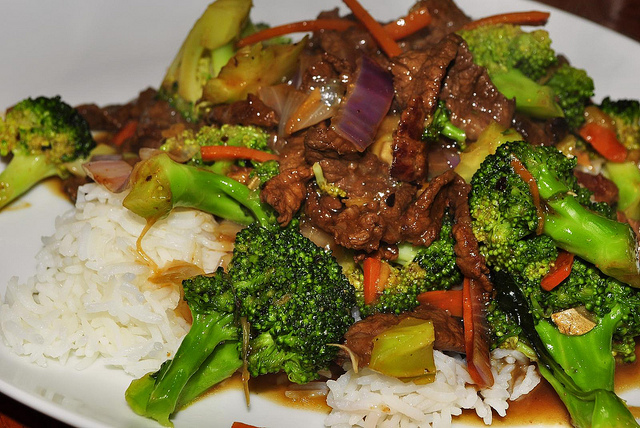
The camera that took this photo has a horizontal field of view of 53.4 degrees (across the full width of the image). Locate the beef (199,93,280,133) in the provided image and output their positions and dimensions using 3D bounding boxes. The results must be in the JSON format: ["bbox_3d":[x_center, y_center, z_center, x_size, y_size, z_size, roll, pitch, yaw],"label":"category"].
[{"bbox_3d":[-0.736,-0.953,5.968,0.609,0.379,0.207,9,-10,21],"label":"beef"}]

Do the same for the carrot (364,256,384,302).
[{"bbox_3d":[0.452,0.569,5.472,0.128,0.387,0.105,11,3,-9],"label":"carrot"}]
